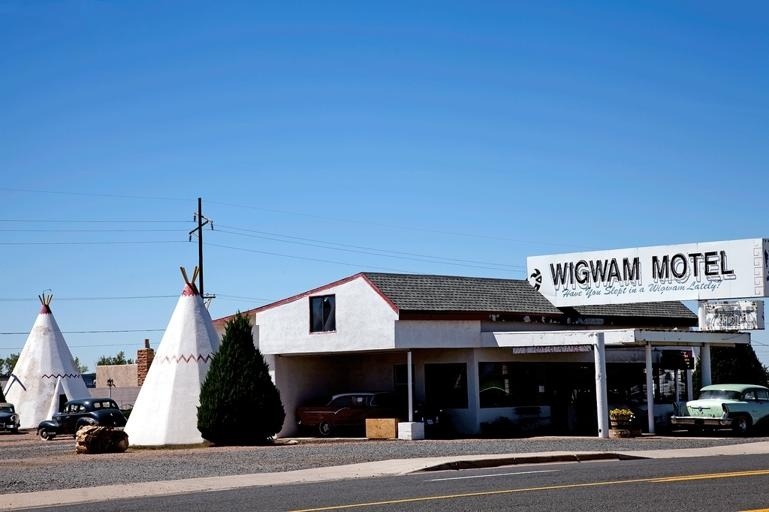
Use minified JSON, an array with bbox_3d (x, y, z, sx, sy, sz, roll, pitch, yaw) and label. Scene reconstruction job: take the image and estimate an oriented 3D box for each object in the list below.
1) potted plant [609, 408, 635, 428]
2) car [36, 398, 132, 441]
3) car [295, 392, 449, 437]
[{"bbox_3d":[8.611,5.965,33.658,0.907,0.506,0.844,-4,-7,29],"label":"potted plant"},{"bbox_3d":[-14.391,7.645,43.355,2.821,1.995,5.876,8,-17,-33],"label":"car"},{"bbox_3d":[-0.769,6.366,37.215,5.489,1.450,2.364,-1,-2,13],"label":"car"}]
